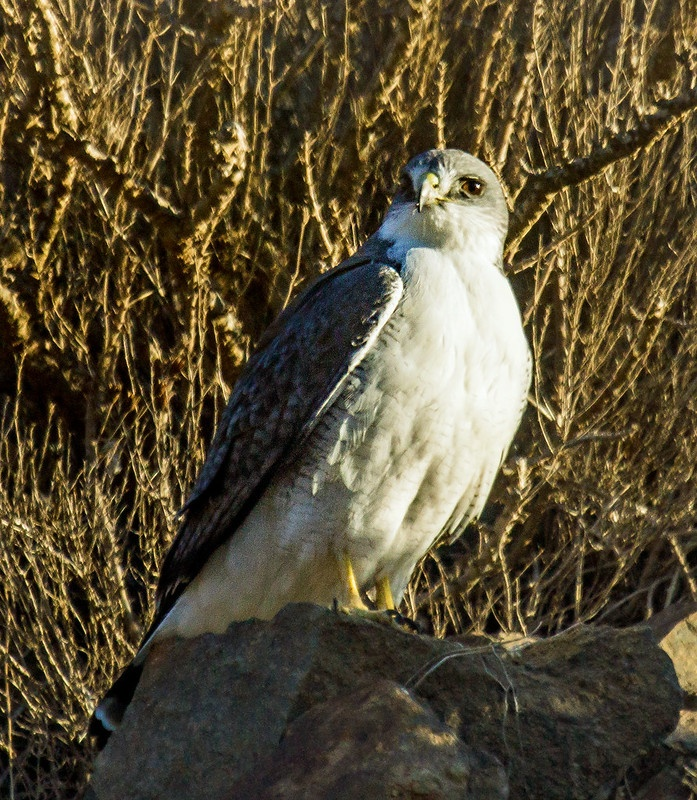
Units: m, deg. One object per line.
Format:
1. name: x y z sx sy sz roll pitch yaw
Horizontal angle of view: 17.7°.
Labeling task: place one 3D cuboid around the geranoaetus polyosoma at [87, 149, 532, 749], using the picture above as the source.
1. geranoaetus polyosoma: -0.030 0.400 11.858 1.666 3.164 0.809 22 4 -3
